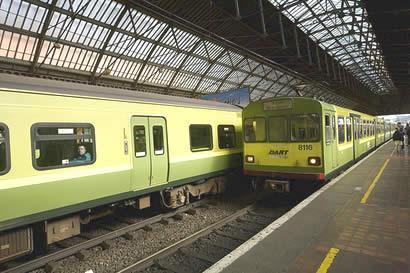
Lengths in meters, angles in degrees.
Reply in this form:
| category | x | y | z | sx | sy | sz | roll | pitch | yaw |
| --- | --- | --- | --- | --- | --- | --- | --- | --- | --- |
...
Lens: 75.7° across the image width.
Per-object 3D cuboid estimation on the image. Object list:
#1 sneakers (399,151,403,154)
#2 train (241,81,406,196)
| category | x | y | z | sx | sy | sz | roll | pitch | yaw |
| --- | --- | --- | --- | --- | --- | --- | --- | --- | --- |
| sneakers | 12.787 | 1.044 | 17.315 | 0.202 | 0.118 | 0.315 | 0 | 2 | 34 |
| train | 8.003 | 0.253 | 16.093 | 3.284 | 4.368 | 16.220 | -2 | 1 | 41 |
